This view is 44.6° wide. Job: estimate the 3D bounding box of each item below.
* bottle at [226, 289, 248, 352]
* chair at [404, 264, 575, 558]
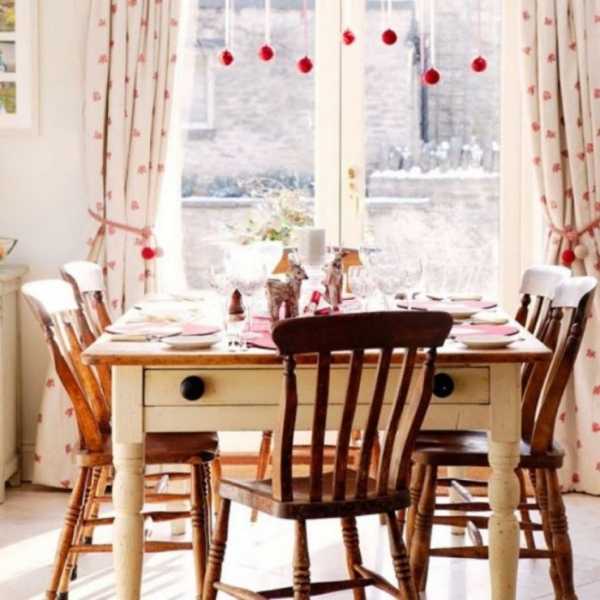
[{"bbox_3d":[-0.172,0.050,1.835,0.038,0.164,0.039,1,-26,1],"label":"bottle"},{"bbox_3d":[0.573,0.341,2.213,0.477,0.961,0.481,5,14,13],"label":"chair"}]
